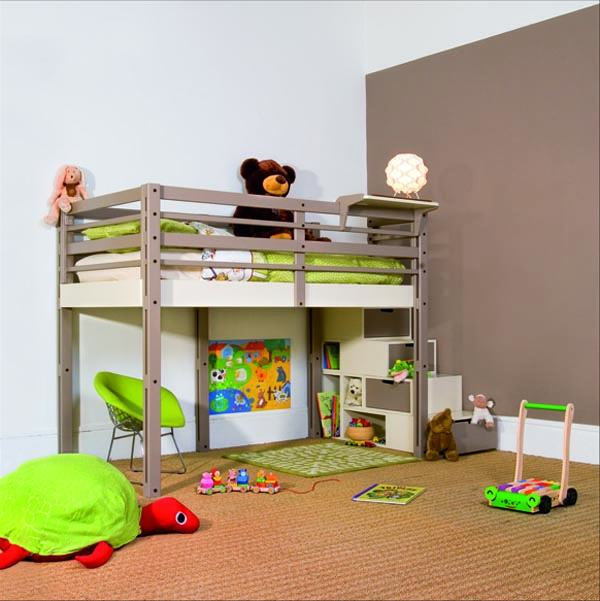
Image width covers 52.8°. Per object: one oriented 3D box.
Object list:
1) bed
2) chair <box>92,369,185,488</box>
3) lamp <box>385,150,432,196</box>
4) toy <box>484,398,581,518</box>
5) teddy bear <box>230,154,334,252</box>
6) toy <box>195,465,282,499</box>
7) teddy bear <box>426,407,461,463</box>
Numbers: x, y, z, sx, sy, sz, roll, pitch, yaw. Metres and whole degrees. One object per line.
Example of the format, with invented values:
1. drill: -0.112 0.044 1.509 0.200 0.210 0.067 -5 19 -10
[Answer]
1. bed: -0.059 0.111 3.862 2.658 1.744 1.277 3 -4 -35
2. chair: -0.864 0.685 3.317 0.486 0.576 0.558 -6 -8 34
3. lamp: 0.733 -0.843 4.088 0.387 0.380 0.231 0 12 8
4. toy: 1.058 0.707 2.746 0.418 0.453 0.330 0 -3 -25
5. teddy bear: -0.101 -0.634 3.984 0.603 0.647 0.532 -2 12 -24
6. toy: -0.298 0.889 2.984 0.407 0.104 0.179 0 -4 -2
7. teddy bear: 0.888 0.834 3.742 0.238 0.329 0.225 1 1 -39
